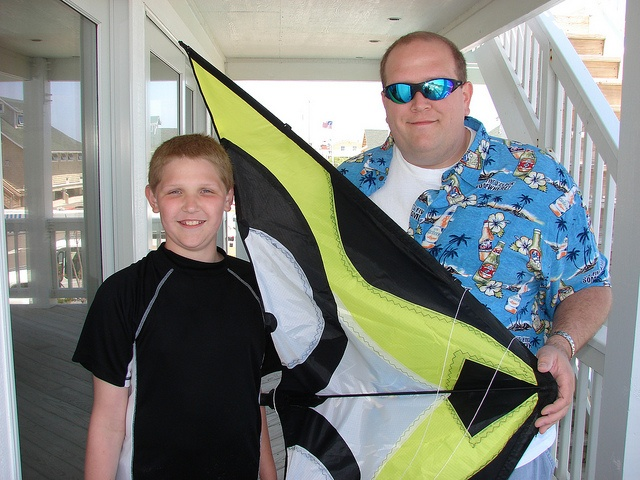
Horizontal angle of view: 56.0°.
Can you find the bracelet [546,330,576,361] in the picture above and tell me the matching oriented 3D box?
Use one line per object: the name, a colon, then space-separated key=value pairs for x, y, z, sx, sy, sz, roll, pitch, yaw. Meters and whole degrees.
bracelet: x=0.977 y=0.416 z=2.394 sx=0.030 sy=0.101 sz=0.103 roll=-35 pitch=13 yaw=47
